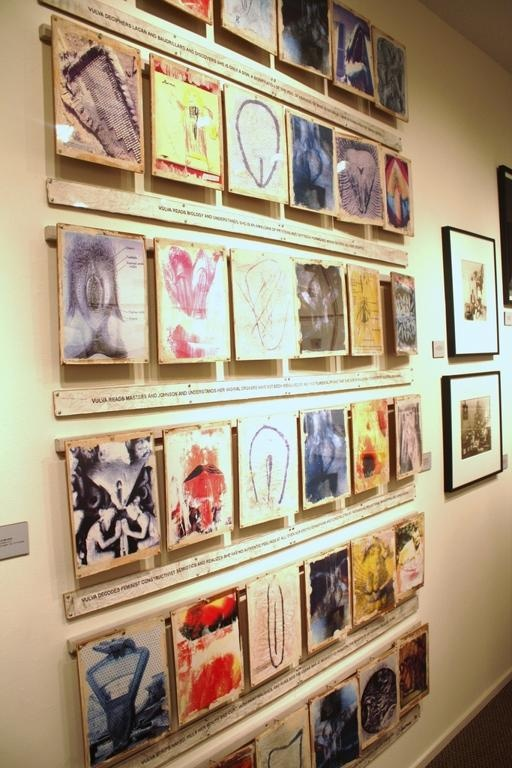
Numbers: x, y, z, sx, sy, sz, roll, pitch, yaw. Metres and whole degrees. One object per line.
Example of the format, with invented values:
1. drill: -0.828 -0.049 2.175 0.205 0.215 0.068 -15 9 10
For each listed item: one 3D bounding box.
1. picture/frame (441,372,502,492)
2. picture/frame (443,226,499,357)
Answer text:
1. picture/frame: 1.017 0.228 2.415 0.046 0.595 0.465 0 4 39
2. picture/frame: 1.007 -0.433 2.396 0.059 0.802 0.539 -2 -2 39
